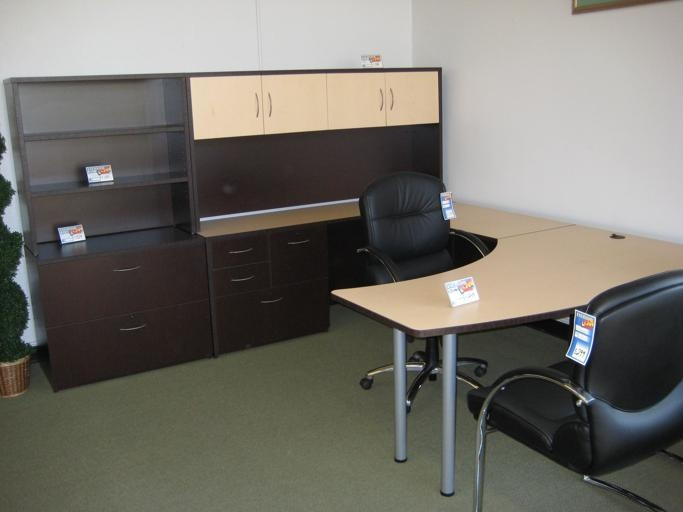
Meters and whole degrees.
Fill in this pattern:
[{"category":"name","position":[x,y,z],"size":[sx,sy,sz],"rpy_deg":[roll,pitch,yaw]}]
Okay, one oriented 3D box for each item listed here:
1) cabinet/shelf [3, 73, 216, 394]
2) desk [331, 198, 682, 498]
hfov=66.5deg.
[{"category":"cabinet/shelf","position":[-1.717,-0.233,3.949],"size":[1.311,2.148,0.769],"rpy_deg":[-10,19,-23]},{"category":"desk","position":[1.050,0.131,3.024],"size":[1.619,0.687,1.651],"rpy_deg":[-9,16,-31]}]
